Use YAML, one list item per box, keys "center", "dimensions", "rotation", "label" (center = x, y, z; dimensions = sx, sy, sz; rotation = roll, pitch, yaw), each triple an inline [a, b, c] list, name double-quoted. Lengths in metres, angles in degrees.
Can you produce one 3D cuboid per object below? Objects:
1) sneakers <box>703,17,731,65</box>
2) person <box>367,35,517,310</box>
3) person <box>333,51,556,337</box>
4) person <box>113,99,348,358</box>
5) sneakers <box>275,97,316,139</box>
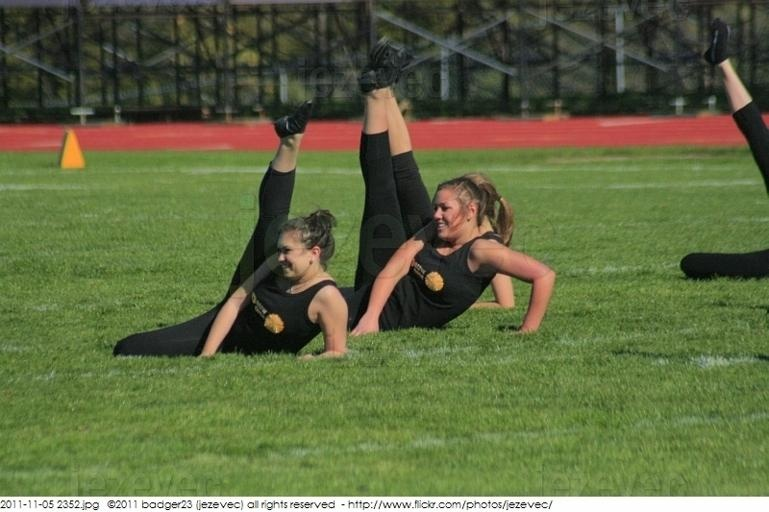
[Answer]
- center: [1.900, -1.216, 8.571]
  dimensions: [0.200, 0.232, 0.138]
  rotation: [8, 14, 42]
  label: "sneakers"
- center: [0.201, -0.398, 8.379]
  dimensions: [0.410, 1.401, 1.054]
  rotation: [-27, 12, -25]
  label: "person"
- center: [0.360, -0.273, 8.346]
  dimensions: [1.209, 1.535, 0.640]
  rotation: [12, 17, 5]
  label: "person"
- center: [-0.767, -0.053, 7.969]
  dimensions: [1.450, 1.429, 0.785]
  rotation: [8, 8, -37]
  label: "person"
- center: [-0.500, -0.737, 8.049]
  dimensions: [0.199, 0.198, 0.177]
  rotation: [-1, 7, -5]
  label: "sneakers"
